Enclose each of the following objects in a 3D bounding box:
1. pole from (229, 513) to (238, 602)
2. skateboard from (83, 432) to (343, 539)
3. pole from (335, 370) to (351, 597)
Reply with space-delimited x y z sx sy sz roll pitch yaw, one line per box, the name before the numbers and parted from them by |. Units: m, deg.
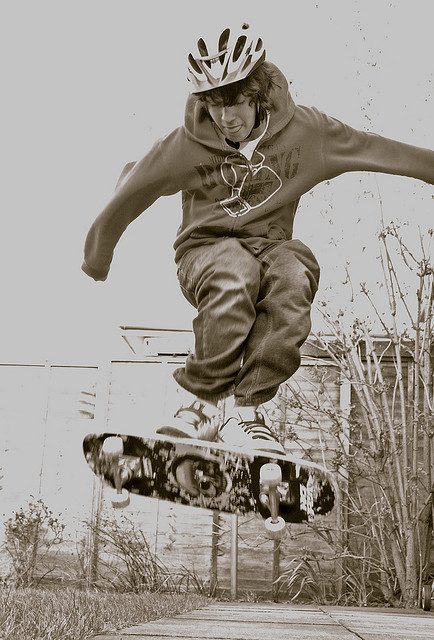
pole | 0.121 1.684 9.103 0.069 0.591 0.184 -1 -6 1
skateboard | -0.021 0.701 5.863 1.211 0.516 0.192 6 17 13
pole | 0.885 1.146 8.989 0.153 1.533 0.562 -2 -6 5
